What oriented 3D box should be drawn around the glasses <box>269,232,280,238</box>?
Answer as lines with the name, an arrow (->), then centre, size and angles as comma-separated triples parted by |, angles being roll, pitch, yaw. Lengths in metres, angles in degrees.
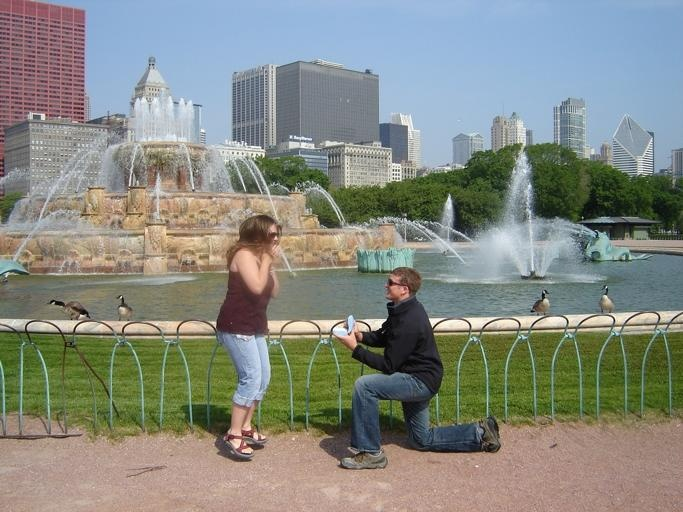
glasses -> -0.827, -0.257, 11.581 | 0.076, 0.081, 0.029 | 5, 20, -21

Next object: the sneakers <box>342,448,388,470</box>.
sneakers -> 0.303, 2.546, 11.648 | 0.572, 0.274, 0.228 | 4, -7, -4

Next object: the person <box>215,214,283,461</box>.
person -> -1.204, 1.008, 11.719 | 0.624, 3.027, 0.856 | 8, 15, 29
